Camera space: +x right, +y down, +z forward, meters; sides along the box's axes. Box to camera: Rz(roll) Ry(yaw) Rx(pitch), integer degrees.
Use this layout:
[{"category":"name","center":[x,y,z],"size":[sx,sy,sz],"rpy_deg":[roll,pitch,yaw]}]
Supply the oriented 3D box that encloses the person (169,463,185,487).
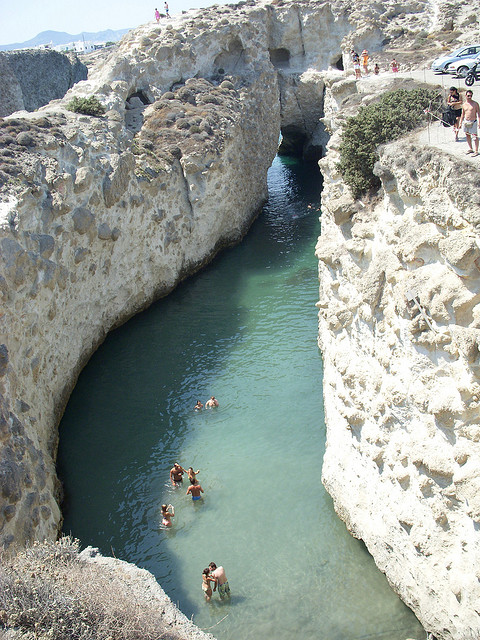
[{"category":"person","center":[-2.037,4.976,20.596],"size":[0.521,0.779,0.332],"rpy_deg":[-18,24,-9]}]

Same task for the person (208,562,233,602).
[{"category":"person","center":[-0.540,6.647,16.432],"size":[0.437,1.117,0.735],"rpy_deg":[-18,24,-9]}]
